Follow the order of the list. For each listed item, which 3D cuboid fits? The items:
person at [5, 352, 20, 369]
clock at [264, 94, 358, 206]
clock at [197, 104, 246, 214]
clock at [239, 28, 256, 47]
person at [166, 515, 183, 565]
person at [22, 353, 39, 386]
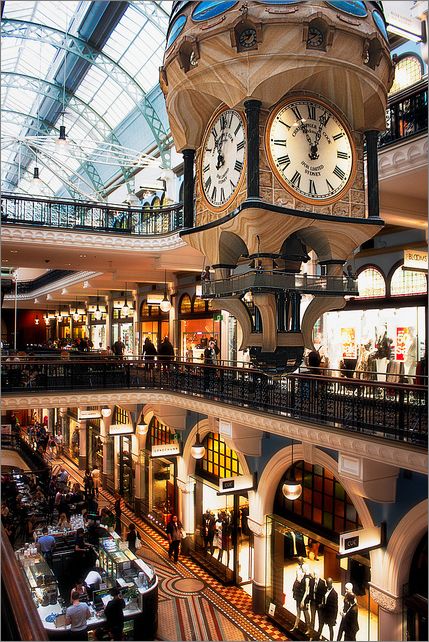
[{"bbox_3d":[-5.100,1.018,14.015,0.306,0.657,0.922,1,-9,-17],"label":"person"},{"bbox_3d":[0.721,-1.334,4.345,0.850,0.871,0.061,7,-11,-32],"label":"clock"},{"bbox_3d":[0.071,-1.358,4.623,0.077,0.944,0.922,2,5,-24],"label":"clock"},{"bbox_3d":[0.237,-2.002,3.925,0.130,0.135,0.008,4,-2,28],"label":"clock"},{"bbox_3d":[-1.001,5.519,14.032,0.359,1.080,0.746,7,-8,14],"label":"person"},{"bbox_3d":[-4.369,1.181,13.178,0.410,0.769,0.230,1,-7,-2],"label":"person"}]
